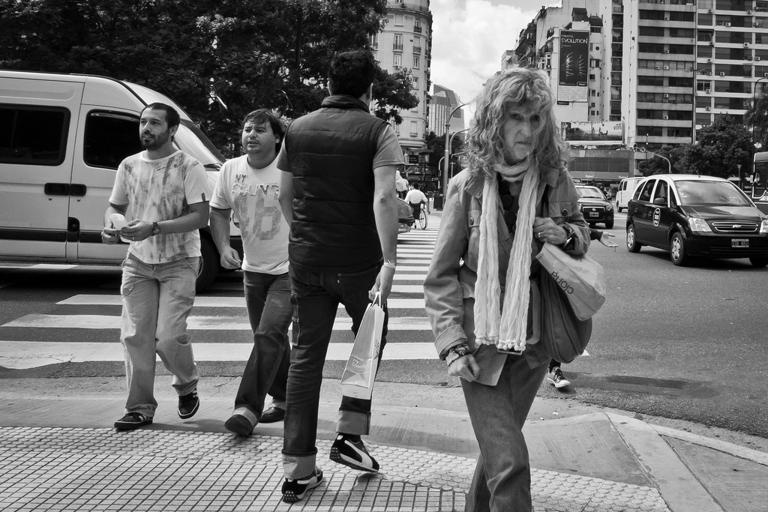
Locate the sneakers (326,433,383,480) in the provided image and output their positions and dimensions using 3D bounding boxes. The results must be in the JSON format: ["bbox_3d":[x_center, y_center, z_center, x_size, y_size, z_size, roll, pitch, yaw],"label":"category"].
[{"bbox_3d":[-0.184,1.443,5.147,0.165,0.222,0.472,-16,-38,38],"label":"sneakers"}]

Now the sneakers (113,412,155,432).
[{"bbox_3d":[-1.984,1.312,5.634,0.301,0.131,0.114,4,-5,-26],"label":"sneakers"}]

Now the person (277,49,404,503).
[{"bbox_3d":[-0.329,0.087,4.959,0.826,3.032,0.759,0,7,-9],"label":"person"}]

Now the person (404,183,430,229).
[{"bbox_3d":[1.235,-1.777,25.851,0.935,1.752,1.279,-2,41,2],"label":"person"}]

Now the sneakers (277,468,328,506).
[{"bbox_3d":[-0.570,1.549,4.850,0.113,0.153,0.347,4,10,24],"label":"sneakers"}]

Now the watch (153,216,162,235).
[{"bbox_3d":[-1.837,-0.218,5.723,0.091,0.095,0.057,5,6,41],"label":"watch"}]

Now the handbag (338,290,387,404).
[{"bbox_3d":[-0.138,0.641,4.739,0.236,0.781,0.436,2,8,5],"label":"handbag"}]

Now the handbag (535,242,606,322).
[{"bbox_3d":[1.117,0.095,4.194,0.439,0.350,0.174,44,17,4],"label":"handbag"}]

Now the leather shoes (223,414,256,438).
[{"bbox_3d":[-1.122,1.310,5.559,0.242,0.208,0.165,0,8,-14],"label":"leather shoes"}]

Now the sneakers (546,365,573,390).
[{"bbox_3d":[1.802,1.255,7.375,0.137,0.190,0.419,-1,2,-11],"label":"sneakers"}]

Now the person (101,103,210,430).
[{"bbox_3d":[-1.872,0.047,5.840,0.827,2.567,0.725,0,8,-11],"label":"person"}]

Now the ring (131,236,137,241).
[{"bbox_3d":[-2.014,-0.132,5.717,0.039,0.028,0.010,6,0,13],"label":"ring"}]
